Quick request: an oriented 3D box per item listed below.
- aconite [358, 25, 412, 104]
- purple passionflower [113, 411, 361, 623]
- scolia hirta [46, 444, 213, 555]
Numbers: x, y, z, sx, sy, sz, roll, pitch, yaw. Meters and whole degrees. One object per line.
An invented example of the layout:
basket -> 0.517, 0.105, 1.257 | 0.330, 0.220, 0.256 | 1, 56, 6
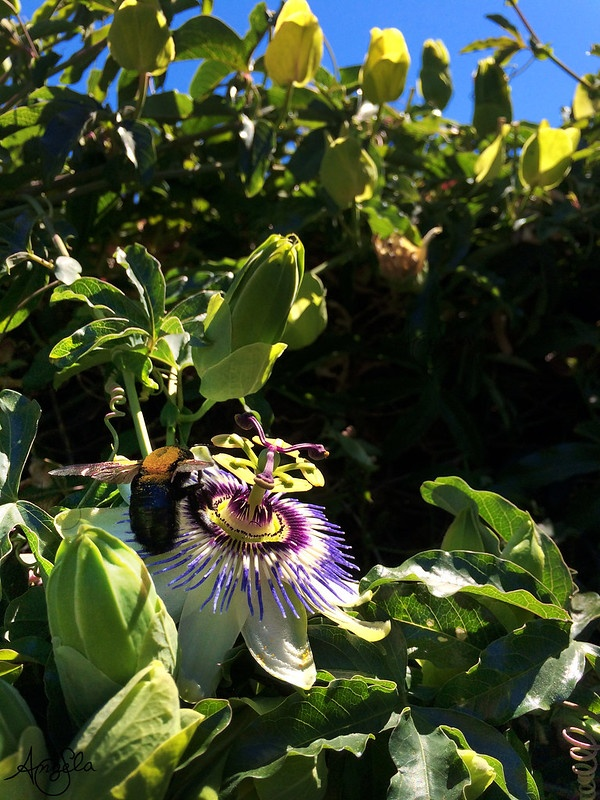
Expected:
aconite -> 0.108, -0.422, 1.133 | 0.060, 0.082, 0.055 | -19, 38, -32
purple passionflower -> -0.021, 0.075, 0.854 | 0.189, 0.182, 0.298 | -3, 7, -26
scolia hirta -> -0.131, 0.077, 0.833 | 0.140, 0.096, 0.117 | 7, 12, 43
